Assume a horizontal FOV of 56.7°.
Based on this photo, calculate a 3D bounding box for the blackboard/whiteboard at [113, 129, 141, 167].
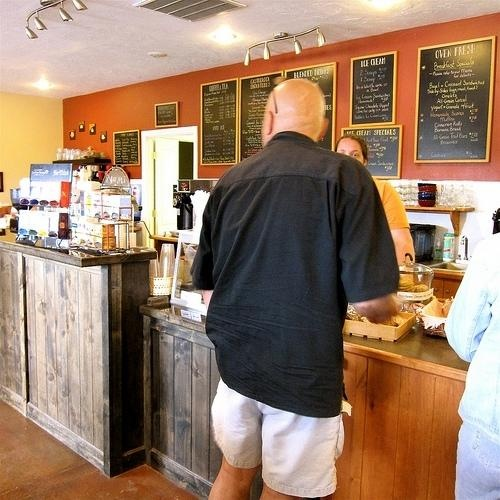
[{"bbox_3d":[-1.745,-1.460,6.562,0.596,0.481,0.054,5,8,41],"label":"blackboard/whiteboard"}]

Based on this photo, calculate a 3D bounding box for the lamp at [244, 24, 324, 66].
[{"bbox_3d":[0.274,-1.824,4.091,0.749,0.194,0.074,-3,17,25],"label":"lamp"}]

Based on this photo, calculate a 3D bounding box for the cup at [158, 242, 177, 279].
[{"bbox_3d":[-0.455,0.051,2.516,0.092,0.185,0.243,-2,6,-10],"label":"cup"}]

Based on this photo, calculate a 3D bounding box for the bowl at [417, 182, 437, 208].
[{"bbox_3d":[1.453,-0.460,3.802,0.158,0.203,0.174,2,-2,0],"label":"bowl"}]
